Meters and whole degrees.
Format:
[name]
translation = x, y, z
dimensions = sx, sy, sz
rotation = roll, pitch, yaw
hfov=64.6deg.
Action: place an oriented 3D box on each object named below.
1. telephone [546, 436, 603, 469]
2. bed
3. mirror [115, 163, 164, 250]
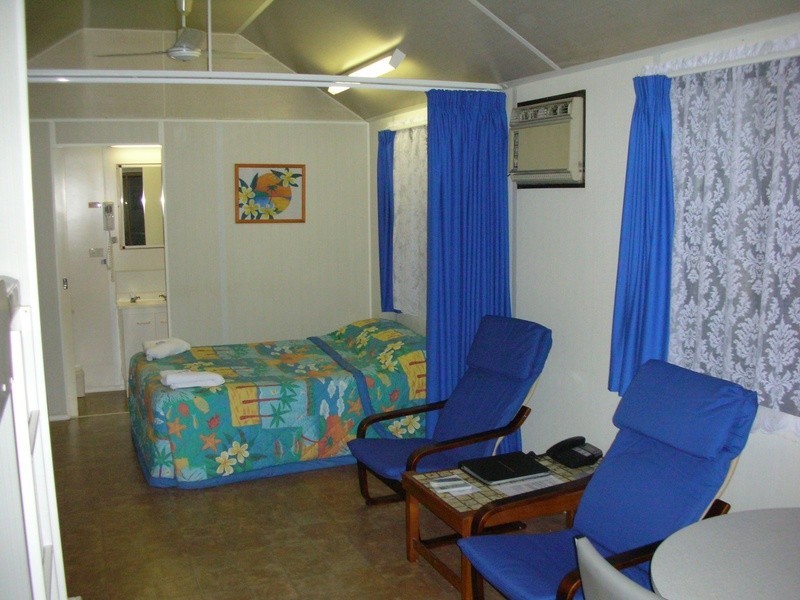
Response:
[telephone]
translation = 1.077, 0.930, 3.859
dimensions = 0.193, 0.083, 0.204
rotation = -17, 16, -23
[bed]
translation = -0.977, 0.812, 5.186
dimensions = 1.952, 0.822, 1.313
rotation = -2, 12, -24
[mirror]
translation = -2.901, -1.125, 7.176
dimensions = 0.431, 0.836, 0.063
rotation = -3, -7, -10
